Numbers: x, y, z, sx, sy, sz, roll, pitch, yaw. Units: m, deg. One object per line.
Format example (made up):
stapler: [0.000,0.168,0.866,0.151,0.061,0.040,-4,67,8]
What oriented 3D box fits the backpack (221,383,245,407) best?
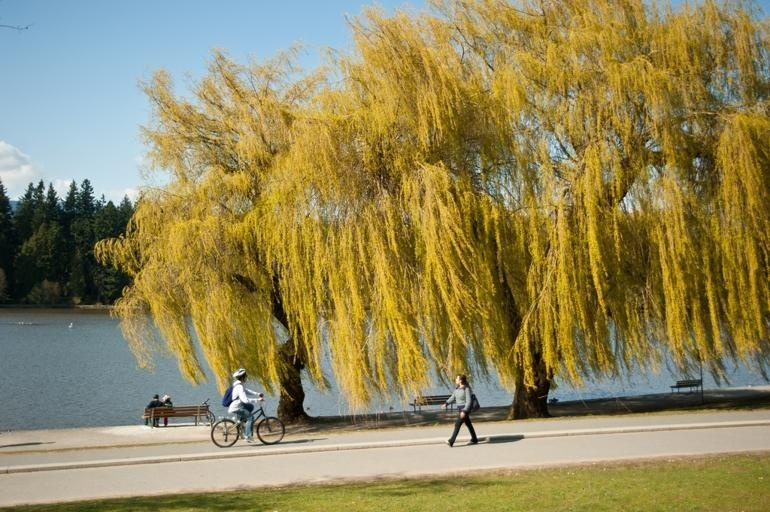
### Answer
backpack: [-5.004,4.525,27.977,0.683,0.797,0.481,1,-3,-5]

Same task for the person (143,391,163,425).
person: [-10.363,6.736,37.893,0.542,1.148,1.558,5,-4,1]

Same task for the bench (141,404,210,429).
bench: [-8.833,6.672,36.239,2.801,0.811,3.031,1,-9,-19]

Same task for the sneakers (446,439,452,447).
sneakers: [2.012,5.810,26.757,0.166,0.212,0.357,-2,-9,3]

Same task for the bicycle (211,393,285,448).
bicycle: [-4.497,5.365,27.914,2.354,1.745,1.162,0,4,-13]

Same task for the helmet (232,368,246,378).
helmet: [-4.741,3.830,27.610,0.375,0.133,0.304,-29,10,18]

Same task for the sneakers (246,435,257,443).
sneakers: [-4.369,5.927,27.712,0.137,0.272,0.348,9,-16,-43]

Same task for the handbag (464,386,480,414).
handbag: [2.696,4.487,27.133,0.443,0.860,0.911,-3,-8,9]

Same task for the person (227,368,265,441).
person: [-4.561,4.753,27.872,1.129,2.303,1.025,-6,10,-40]
